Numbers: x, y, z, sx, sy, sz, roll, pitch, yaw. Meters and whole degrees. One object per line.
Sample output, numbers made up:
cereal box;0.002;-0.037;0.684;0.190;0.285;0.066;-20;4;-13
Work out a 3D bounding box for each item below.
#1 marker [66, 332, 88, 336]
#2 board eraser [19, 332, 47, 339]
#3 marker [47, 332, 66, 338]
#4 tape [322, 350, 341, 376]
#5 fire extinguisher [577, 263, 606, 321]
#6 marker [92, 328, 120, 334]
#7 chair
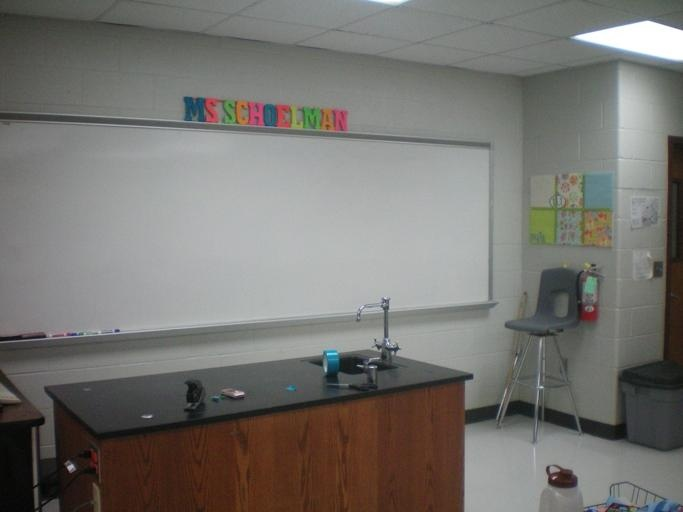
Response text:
marker;-1.779;0.521;3.613;0.109;0.023;0.023;-2;10;-28
board eraser;-2.002;0.515;3.505;0.144;0.033;0.033;-1;9;-26
marker;-1.881;0.522;3.563;0.110;0.028;0.027;-1;9;-22
tape;-0.056;0.591;3.068;0.106;0.176;0.173;-1;5;-11
fire extinguisher;2.206;0.332;4.779;0.190;0.527;0.099;8;10;31
marker;-1.605;0.514;3.688;0.172;0.031;0.030;-1;9;-22
chair;1.826;0.862;4.923;0.790;1.531;0.615;10;12;42
